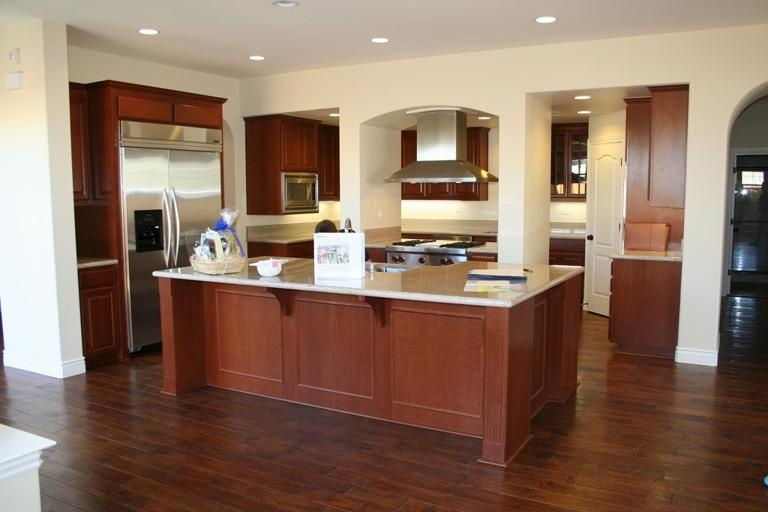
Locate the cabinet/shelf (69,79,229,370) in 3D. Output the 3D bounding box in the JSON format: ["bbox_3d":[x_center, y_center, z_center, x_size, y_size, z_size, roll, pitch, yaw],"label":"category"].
[{"bbox_3d":[-2.807,-0.476,6.779,1.500,3.099,0.848,-12,19,-36],"label":"cabinet/shelf"}]

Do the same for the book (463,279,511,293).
[{"bbox_3d":[0.864,0.246,4.666,0.366,0.027,0.376,3,14,15],"label":"book"}]

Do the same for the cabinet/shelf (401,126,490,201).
[{"bbox_3d":[0.944,-1.362,8.130,1.434,1.076,0.440,0,2,21],"label":"cabinet/shelf"}]

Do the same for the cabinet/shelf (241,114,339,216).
[{"bbox_3d":[-1.479,-1.416,8.589,0.633,1.248,1.623,2,4,31],"label":"cabinet/shelf"}]

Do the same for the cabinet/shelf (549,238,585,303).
[{"bbox_3d":[2.845,0.046,8.732,0.659,0.835,0.458,0,4,25],"label":"cabinet/shelf"}]

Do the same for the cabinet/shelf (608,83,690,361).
[{"bbox_3d":[3.148,-0.447,6.699,0.780,3.026,1.266,5,16,20],"label":"cabinet/shelf"}]

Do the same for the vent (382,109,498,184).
[{"bbox_3d":[0.781,-1.436,7.420,1.446,0.803,0.982,6,16,33],"label":"vent"}]

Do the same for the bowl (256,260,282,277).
[{"bbox_3d":[-1.066,0.102,5.270,0.211,0.137,0.272,-2,14,-8],"label":"bowl"}]

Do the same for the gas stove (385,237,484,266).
[{"bbox_3d":[0.663,-0.040,7.635,1.273,0.254,0.604,4,15,15],"label":"gas stove"}]
